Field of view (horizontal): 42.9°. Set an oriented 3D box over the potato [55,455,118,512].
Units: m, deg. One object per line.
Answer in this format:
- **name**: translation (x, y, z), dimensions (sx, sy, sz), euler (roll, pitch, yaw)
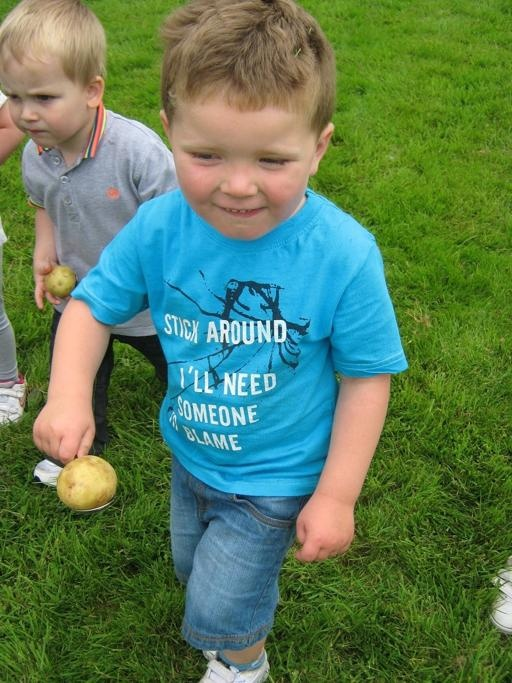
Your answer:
- **potato**: translation (-0.438, 0.355, 1.617), dimensions (0.153, 0.135, 0.152), euler (0, 3, 6)
